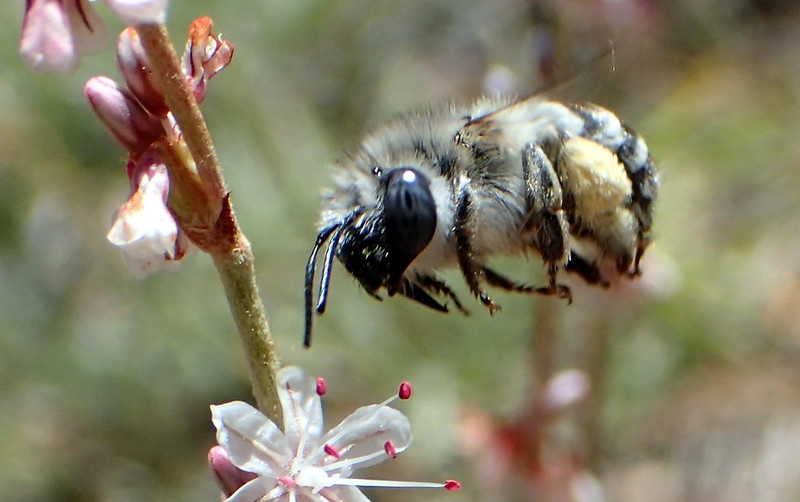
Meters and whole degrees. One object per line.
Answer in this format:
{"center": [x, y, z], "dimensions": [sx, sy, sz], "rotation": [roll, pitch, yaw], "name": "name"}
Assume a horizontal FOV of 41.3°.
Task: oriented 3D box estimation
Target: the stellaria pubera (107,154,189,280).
{"center": [-0.804, -0.108, 3.479], "dimensions": [0.235, 0.295, 0.280], "rotation": [5, 45, -1], "name": "stellaria pubera"}

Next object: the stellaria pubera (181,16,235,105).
{"center": [-0.636, -0.667, 3.582], "dimensions": [0.118, 0.350, 0.156], "rotation": [0, 16, 3], "name": "stellaria pubera"}
